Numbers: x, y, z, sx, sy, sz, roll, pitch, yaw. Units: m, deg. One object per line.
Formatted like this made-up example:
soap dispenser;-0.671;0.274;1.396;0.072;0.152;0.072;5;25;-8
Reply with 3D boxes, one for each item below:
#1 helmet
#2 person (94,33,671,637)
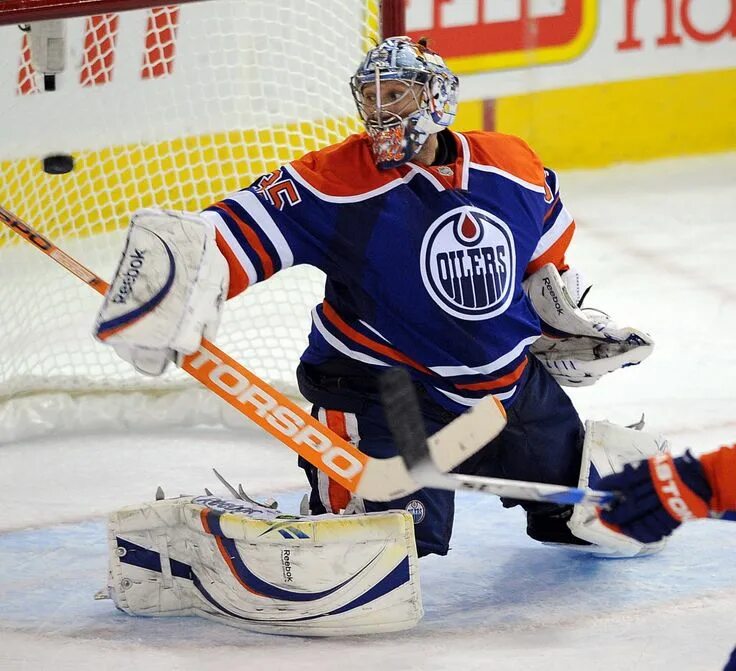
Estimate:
helmet;0.107;-0.579;2.397;0.229;0.166;0.249;5;8;31
person;0.111;-0.034;2.476;1.803;1.210;0.895;-15;20;-41
